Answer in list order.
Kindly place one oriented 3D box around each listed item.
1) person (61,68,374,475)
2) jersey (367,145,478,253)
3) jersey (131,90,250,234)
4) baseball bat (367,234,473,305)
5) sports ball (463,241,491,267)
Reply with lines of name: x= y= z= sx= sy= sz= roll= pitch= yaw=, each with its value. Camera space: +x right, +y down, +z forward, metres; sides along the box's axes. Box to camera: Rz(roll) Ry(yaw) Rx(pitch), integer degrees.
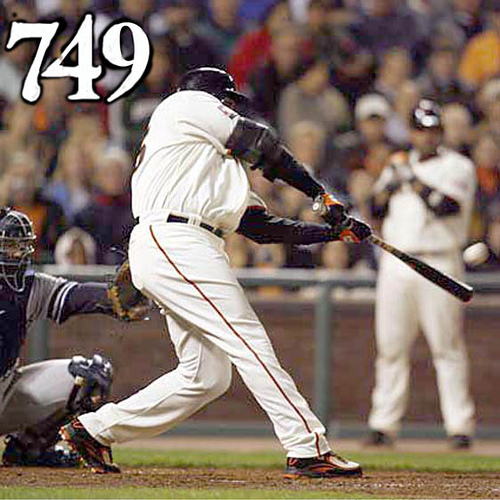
person: x=-0.132 y=0.077 z=4.825 sx=1.136 sy=1.590 sz=0.428 roll=0 pitch=1 yaw=4
jersey: x=0.845 y=-0.230 z=5.785 sx=0.387 sy=0.484 sz=0.447 roll=-20 pitch=13 yaw=-38
jersey: x=-0.229 y=-0.341 z=4.755 sx=0.455 sy=0.543 sz=0.198 roll=0 pitch=1 yaw=2
baseball bat: x=0.791 y=0.085 z=5.545 sx=0.548 sy=0.102 sz=0.044 roll=34 pitch=6 yaw=10
sports ball: x=1.027 y=0.027 z=5.608 sx=0.115 sy=0.082 sz=0.090 roll=-36 pitch=-24 yaw=-12
